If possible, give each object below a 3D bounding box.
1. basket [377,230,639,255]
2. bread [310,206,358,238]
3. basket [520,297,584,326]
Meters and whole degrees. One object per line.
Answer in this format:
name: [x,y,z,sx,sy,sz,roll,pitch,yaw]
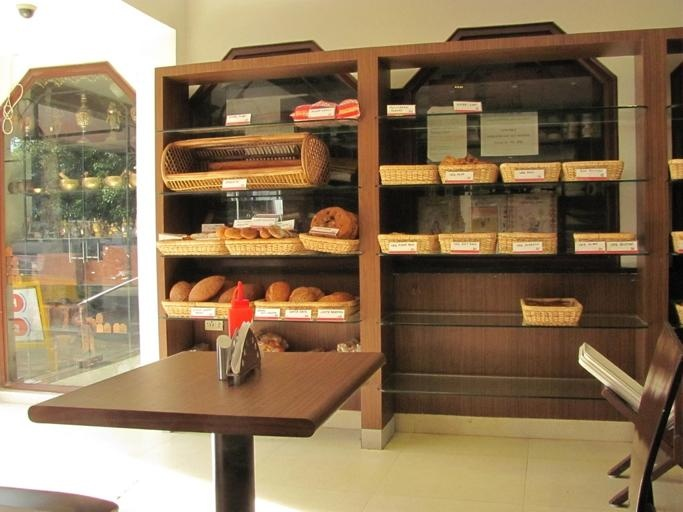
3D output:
basket: [1.008,-0.086,3.742,1.555,0.149,0.209,-1,8,6]
bread: [-0.053,-0.213,3.878,0.275,0.194,0.153,0,9,15]
basket: [1.312,0.346,3.742,0.298,0.078,0.213,0,0,10]
